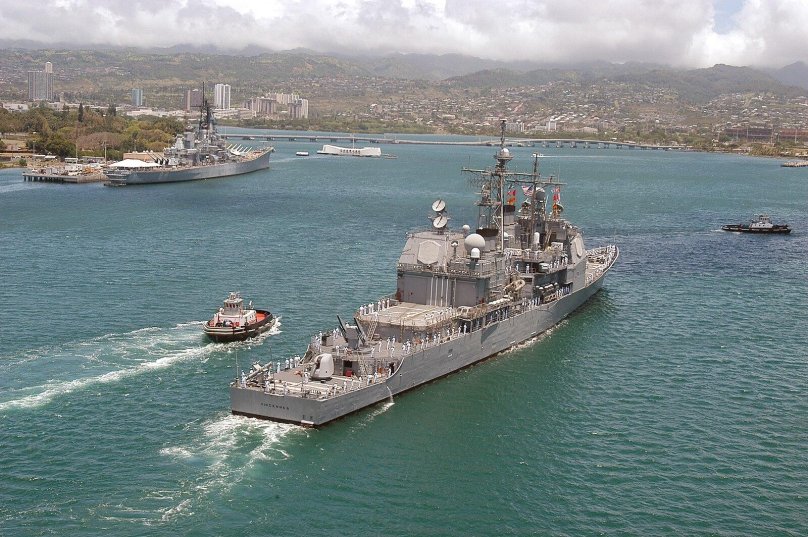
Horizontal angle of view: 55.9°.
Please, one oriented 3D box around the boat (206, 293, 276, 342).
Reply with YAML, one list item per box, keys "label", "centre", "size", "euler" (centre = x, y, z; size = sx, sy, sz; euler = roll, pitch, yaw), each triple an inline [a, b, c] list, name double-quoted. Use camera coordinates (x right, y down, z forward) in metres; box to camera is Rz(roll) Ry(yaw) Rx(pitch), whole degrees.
- label: "boat"
  centre: [-13.097, 4.026, 60.961]
  size: [5.587, 3.645, 7.648]
  euler: [2, -8, 2]
